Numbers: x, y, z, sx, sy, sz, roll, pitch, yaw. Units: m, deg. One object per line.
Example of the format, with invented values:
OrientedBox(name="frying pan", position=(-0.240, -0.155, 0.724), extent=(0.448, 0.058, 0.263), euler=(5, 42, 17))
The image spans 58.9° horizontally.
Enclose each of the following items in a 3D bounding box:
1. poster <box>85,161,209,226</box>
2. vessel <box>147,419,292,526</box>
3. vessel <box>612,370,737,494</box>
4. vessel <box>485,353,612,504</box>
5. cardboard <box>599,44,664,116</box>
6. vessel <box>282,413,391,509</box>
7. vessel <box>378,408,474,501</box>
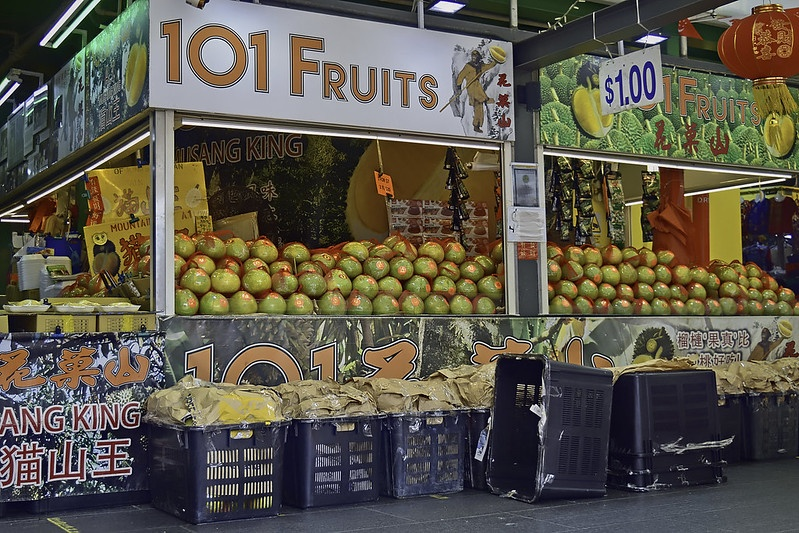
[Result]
OrientedBox(name="poster", position=(-2.933, -0.775, 8.254), extent=(1.421, 0.152, 1.075), euler=(-10, -43, -31))
OrientedBox(name="vessel", position=(-1.594, 1.620, 6.013), extent=(0.739, 0.681, 0.921), euler=(3, -4, -27))
OrientedBox(name="vessel", position=(2.497, 1.529, 7.066), extent=(1.236, 1.313, 1.025), euler=(1, -6, -23))
OrientedBox(name="vessel", position=(1.326, 1.448, 6.341), extent=(1.149, 1.307, 0.480), euler=(-3, -4, 16))
OrientedBox(name="cardboard", position=(2.432, -1.972, 7.485), extent=(0.011, 0.742, 0.918), euler=(-1, -4, -29))
OrientedBox(name="vessel", position=(-0.660, 1.733, 6.379), extent=(0.947, 0.754, 0.730), euler=(8, -15, -41))
OrientedBox(name="vessel", position=(0.131, 1.740, 6.672), extent=(0.967, 0.761, 0.739), euler=(7, -11, -35))
